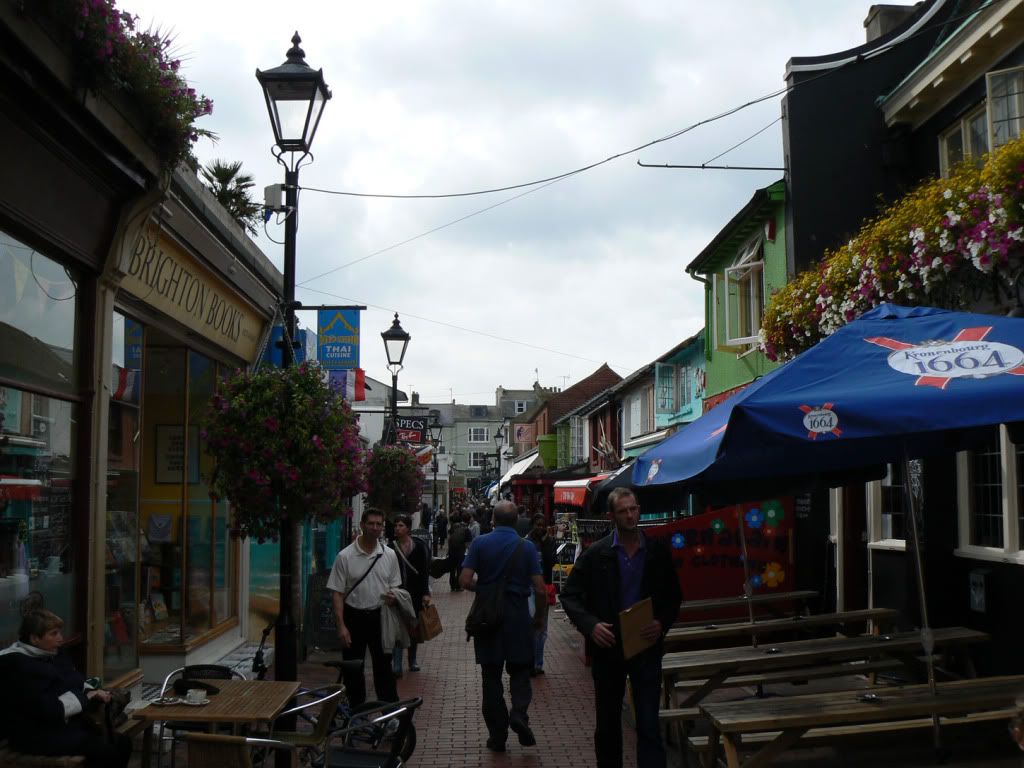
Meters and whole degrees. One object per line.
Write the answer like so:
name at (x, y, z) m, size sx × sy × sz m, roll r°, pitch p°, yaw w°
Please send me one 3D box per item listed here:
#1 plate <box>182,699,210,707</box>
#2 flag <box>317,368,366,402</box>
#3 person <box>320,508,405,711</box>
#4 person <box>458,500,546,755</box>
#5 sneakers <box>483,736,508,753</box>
plate at (-2.446, 2.429, 9.332) m, size 0.194 × 0.039 × 0.124 m, roll -1°, pitch -3°, yaw -17°
flag at (-2.857, -0.010, 20.164) m, size 0.089 × 0.505 × 0.666 m, roll -9°, pitch -4°, yaw 27°
person at (-1.457, 2.328, 12.239) m, size 0.778 × 2.185 × 0.620 m, roll 0°, pitch 7°, yaw -16°
person at (-0.055, 2.302, 11.951) m, size 0.835 × 2.330 × 0.826 m, roll 4°, pitch -13°, yaw -15°
sneakers at (-0.179, 3.419, 11.581) m, size 0.229 × 0.117 × 0.203 m, roll -3°, pitch -3°, yaw 14°
